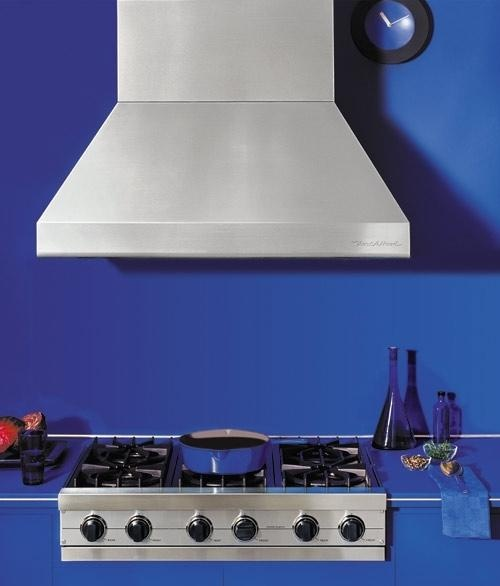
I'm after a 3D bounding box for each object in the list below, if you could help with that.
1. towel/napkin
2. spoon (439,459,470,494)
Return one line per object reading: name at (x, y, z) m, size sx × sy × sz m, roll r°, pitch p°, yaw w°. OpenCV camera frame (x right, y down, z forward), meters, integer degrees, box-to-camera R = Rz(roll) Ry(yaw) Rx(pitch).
towel/napkin at (0.525, 0.500, 1.710) m, size 0.130 × 0.235 × 0.155 m, roll -12°, pitch -40°, yaw 11°
spoon at (0.528, 0.465, 1.738) m, size 0.024 × 0.083 × 0.014 m, roll -3°, pitch -60°, yaw -2°
